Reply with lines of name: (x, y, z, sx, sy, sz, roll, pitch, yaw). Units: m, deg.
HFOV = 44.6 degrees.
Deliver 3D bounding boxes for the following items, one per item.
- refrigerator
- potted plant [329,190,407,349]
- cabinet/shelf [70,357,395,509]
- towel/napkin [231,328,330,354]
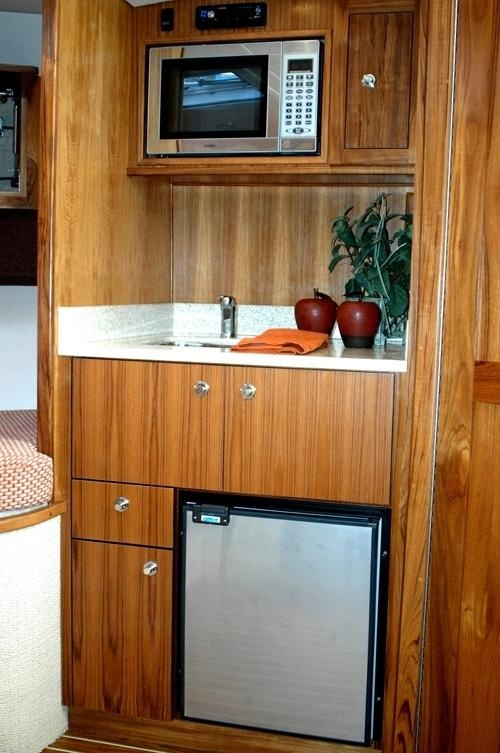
refrigerator: (0.102, 0.551, 1.412, 0.529, 0.711, 0.251, 2, 4, 17)
potted plant: (0.326, -0.336, 1.735, 0.203, 0.362, 0.223, 5, 14, 23)
cabinet/shelf: (-0.039, 0.085, 1.556, 0.770, 0.326, 0.267, 3, 15, 5)
towel/napkin: (0.086, -0.096, 1.581, 0.202, 0.054, 0.357, 4, 6, 15)
